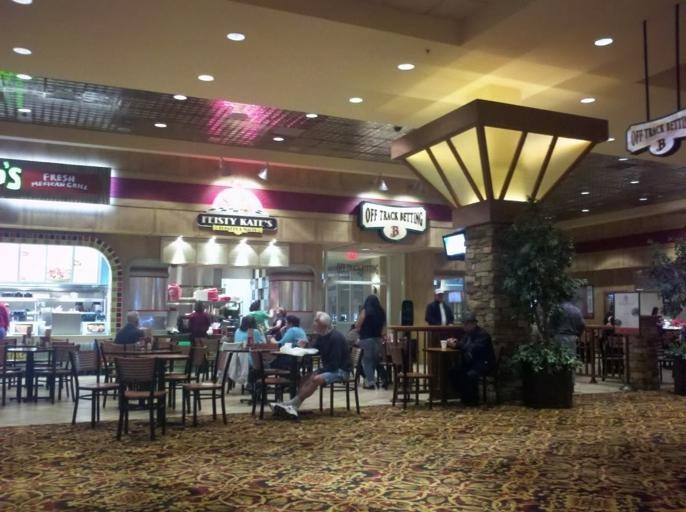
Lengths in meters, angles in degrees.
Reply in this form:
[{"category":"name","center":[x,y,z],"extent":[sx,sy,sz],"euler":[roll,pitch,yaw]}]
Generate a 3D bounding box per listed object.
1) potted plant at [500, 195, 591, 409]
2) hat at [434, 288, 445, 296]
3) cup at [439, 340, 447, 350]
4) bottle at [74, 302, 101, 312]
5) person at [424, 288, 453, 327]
[{"category":"potted plant","center":[3.366,0.773,9.587],"extent":[1.251,3.438,1.055],"euler":[0,-3,0]},{"category":"hat","center":[2.606,0.960,15.259],"extent":[0.451,0.180,0.590],"euler":[-1,-4,6]},{"category":"cup","center":[1.714,1.513,9.562],"extent":[0.145,0.149,0.141],"euler":[0,-10,0]},{"category":"bottle","center":[-6.424,1.282,14.122],"extent":[0.480,0.247,0.310],"euler":[1,-7,-17]},{"category":"person","center":[2.140,1.236,12.262],"extent":[0.631,0.876,0.508],"euler":[-1,-8,-17]}]
